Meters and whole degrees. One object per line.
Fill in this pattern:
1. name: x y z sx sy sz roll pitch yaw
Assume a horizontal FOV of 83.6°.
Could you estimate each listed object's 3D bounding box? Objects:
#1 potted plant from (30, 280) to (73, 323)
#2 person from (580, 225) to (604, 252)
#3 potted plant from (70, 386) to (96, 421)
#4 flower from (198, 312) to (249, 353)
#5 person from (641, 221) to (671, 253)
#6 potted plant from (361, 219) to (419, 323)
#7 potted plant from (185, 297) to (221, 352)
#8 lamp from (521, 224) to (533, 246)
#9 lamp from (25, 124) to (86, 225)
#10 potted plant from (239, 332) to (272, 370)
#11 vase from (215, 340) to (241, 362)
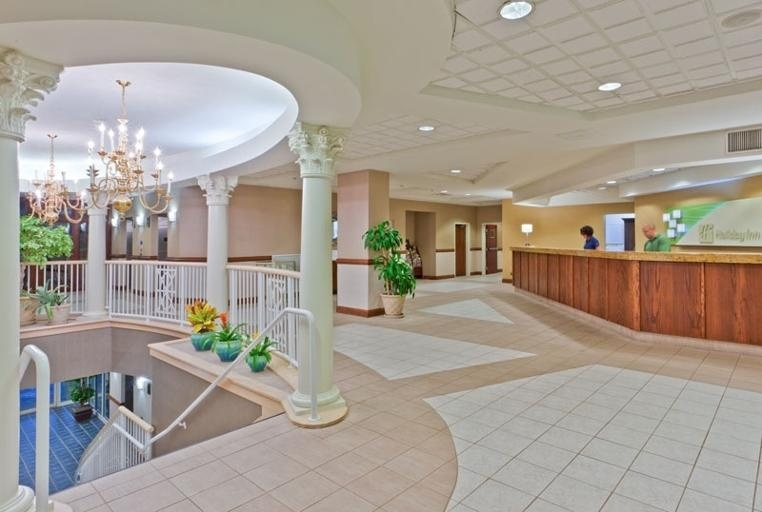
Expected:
1. potted plant: -6.526 0.968 8.467 0.750 0.663 0.745 10 4 28
2. person: 5.016 -0.460 10.281 0.330 0.590 1.077 4 13 25
3. potted plant: -9.178 4.436 13.210 0.558 1.113 0.778 -5 13 -16
4. flower: -2.645 1.249 6.891 0.782 0.511 0.712 3 -2 -4
5. person: 5.168 -0.346 8.026 0.399 0.521 1.306 6 13 31
6. potted plant: 0.188 0.298 9.938 1.106 2.209 1.278 -5 13 -16
7. potted plant: -2.991 1.187 7.259 0.600 0.755 0.473 -1 -2 -30
8. lamp: 5.282 -0.791 15.492 0.448 0.782 0.737 3 13 18
9. lamp: -6.374 -1.514 8.332 1.139 1.647 1.059 0 4 -15
10. potted plant: -1.766 1.402 6.129 0.467 0.470 0.525 -1 -5 -35
11. vase: -2.277 1.409 6.468 0.341 0.241 0.350 -6 -8 45
